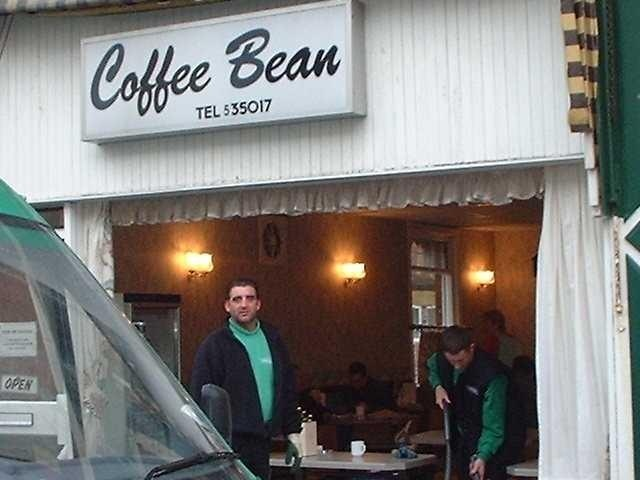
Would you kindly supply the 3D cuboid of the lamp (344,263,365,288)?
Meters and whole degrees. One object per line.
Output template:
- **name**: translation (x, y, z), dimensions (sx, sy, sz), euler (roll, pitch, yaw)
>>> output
- **lamp**: translation (0.544, 0.484, 15.854), dimensions (0.180, 0.340, 0.462), euler (-6, -3, 37)

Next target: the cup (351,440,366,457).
- **cup**: translation (0.352, 1.854, 9.892), dimensions (0.140, 0.152, 0.123), euler (1, -11, 5)
